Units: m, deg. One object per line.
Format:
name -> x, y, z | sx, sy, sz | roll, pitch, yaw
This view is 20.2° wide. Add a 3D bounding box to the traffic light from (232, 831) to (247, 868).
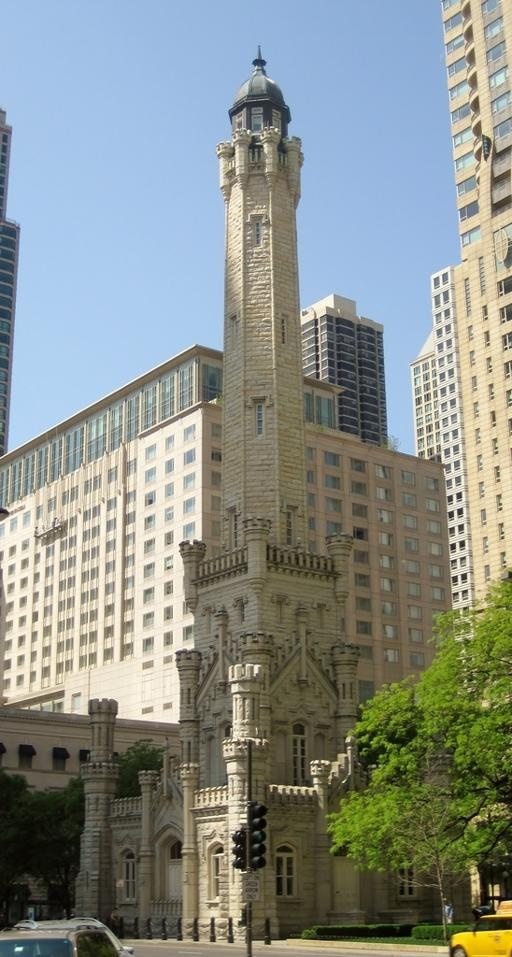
traffic light -> -0.434, 8.726, 34.202 | 0.337, 0.984, 0.683 | -2, -22, -2
